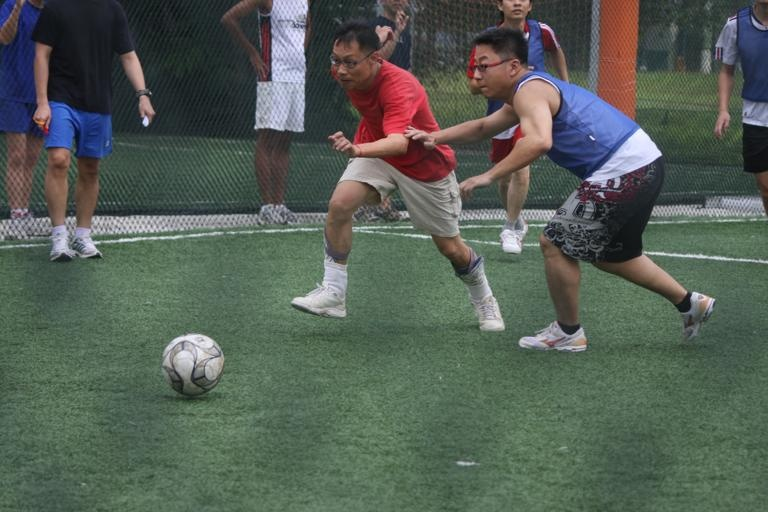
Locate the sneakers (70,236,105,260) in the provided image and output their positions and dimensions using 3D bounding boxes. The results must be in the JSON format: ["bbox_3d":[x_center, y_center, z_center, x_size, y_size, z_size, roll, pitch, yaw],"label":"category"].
[{"bbox_3d":[-2.494,-0.071,7.233,0.304,0.144,0.127,15,21,35],"label":"sneakers"}]

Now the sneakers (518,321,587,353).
[{"bbox_3d":[1.057,0.511,5.377,0.433,0.215,0.166,3,2,6],"label":"sneakers"}]

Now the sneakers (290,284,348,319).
[{"bbox_3d":[-0.403,0.293,5.577,0.402,0.208,0.167,12,-7,-36],"label":"sneakers"}]

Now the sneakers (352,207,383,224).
[{"bbox_3d":[-0.179,-0.433,9.072,0.222,0.087,0.170,9,16,29],"label":"sneakers"}]

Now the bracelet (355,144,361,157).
[{"bbox_3d":[-0.154,-0.614,5.056,0.044,0.070,0.105,0,15,-2],"label":"bracelet"}]

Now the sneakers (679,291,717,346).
[{"bbox_3d":[1.937,0.381,5.456,0.177,0.377,0.128,24,41,9],"label":"sneakers"}]

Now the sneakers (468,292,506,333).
[{"bbox_3d":[0.701,0.374,5.701,0.115,0.146,0.357,-17,12,4],"label":"sneakers"}]

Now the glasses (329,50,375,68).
[{"bbox_3d":[-0.213,-1.210,5.313,0.292,0.096,0.115,7,16,19],"label":"glasses"}]

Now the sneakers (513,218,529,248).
[{"bbox_3d":[1.268,-0.237,7.833,0.113,0.164,0.367,1,39,14],"label":"sneakers"}]
